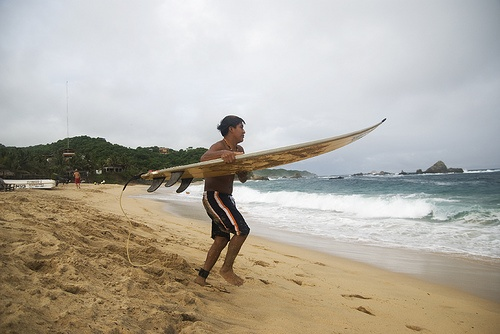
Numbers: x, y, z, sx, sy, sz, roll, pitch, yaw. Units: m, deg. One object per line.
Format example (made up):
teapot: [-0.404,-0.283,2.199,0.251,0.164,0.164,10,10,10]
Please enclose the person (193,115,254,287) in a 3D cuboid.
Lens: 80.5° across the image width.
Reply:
person: [-0.337,0.471,4.108,0.911,2.202,0.891,11,2,-8]
